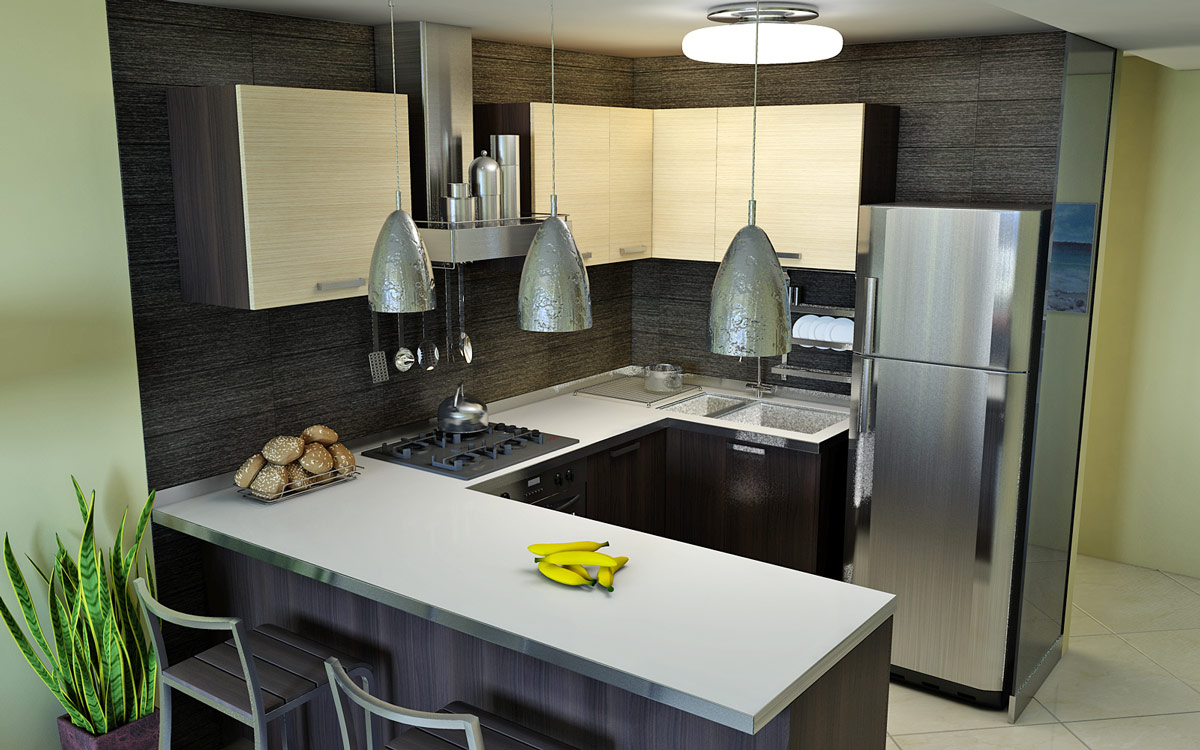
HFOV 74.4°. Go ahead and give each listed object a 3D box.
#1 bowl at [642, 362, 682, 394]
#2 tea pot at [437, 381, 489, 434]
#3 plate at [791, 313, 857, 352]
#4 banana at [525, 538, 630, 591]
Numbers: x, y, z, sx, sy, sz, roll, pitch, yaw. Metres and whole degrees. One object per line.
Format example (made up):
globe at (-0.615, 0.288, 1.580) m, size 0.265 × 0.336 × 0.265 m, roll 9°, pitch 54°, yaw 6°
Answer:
bowl at (0.406, 0.024, 5.056) m, size 0.220 × 0.138 × 0.208 m, roll 0°, pitch 1°, yaw 0°
tea pot at (-0.735, 0.171, 4.195) m, size 0.283 × 0.248 × 0.261 m, roll 0°, pitch 5°, yaw 0°
plate at (1.310, -0.253, 4.593) m, size 0.333 × 0.282 × 0.037 m, roll -1°, pitch 1°, yaw 25°
banana at (-0.082, 0.714, 2.966) m, size 0.239 × 0.078 × 0.190 m, roll 3°, pitch 8°, yaw 21°
